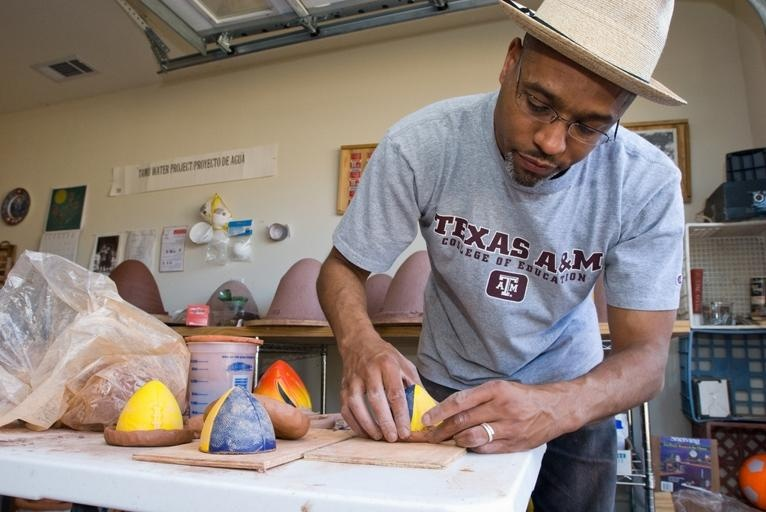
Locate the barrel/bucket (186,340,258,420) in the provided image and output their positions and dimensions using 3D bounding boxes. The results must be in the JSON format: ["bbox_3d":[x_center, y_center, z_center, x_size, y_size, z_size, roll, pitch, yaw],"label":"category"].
[{"bbox_3d":[-0.636,0.483,2.328,0.314,0.311,0.308,1,-9,0],"label":"barrel/bucket"}]

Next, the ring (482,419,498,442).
[{"bbox_3d":[0.251,0.411,1.334,0.013,0.036,0.032,-8,-19,-18],"label":"ring"}]

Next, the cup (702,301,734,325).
[{"bbox_3d":[1.795,0.305,3.052,0.144,0.151,0.142,2,-5,0],"label":"cup"}]

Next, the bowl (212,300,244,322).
[{"bbox_3d":[-0.922,0.324,3.447,0.145,0.123,0.168,1,-2,4],"label":"bowl"}]
